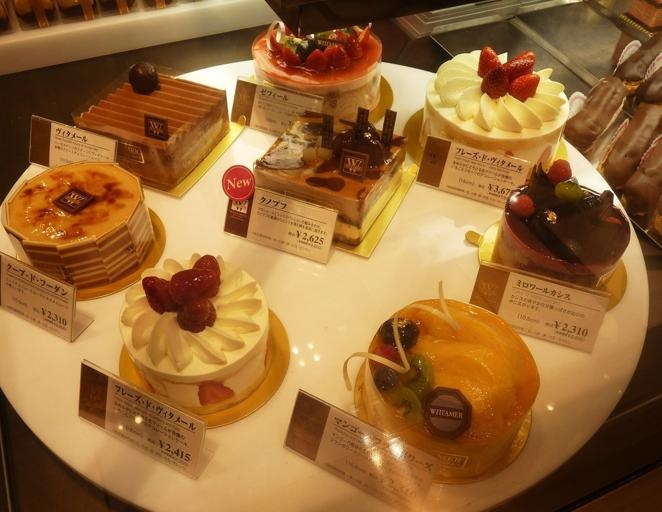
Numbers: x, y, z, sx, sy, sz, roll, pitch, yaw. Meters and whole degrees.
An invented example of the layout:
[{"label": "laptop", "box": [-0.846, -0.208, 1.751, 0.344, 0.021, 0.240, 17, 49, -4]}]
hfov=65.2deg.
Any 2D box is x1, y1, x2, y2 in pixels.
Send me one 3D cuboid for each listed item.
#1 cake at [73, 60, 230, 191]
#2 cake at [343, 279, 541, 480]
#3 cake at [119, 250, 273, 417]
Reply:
[{"label": "cake", "box": [-0.984, -0.773, 3.020, 0.734, 0.382, 0.776, 21, 47, 18]}, {"label": "cake", "box": [0.414, 0.640, 2.283, 0.788, 0.275, 0.715, 32, 59, 23]}, {"label": "cake", "box": [-0.535, 0.322, 2.346, 0.591, 0.491, 0.663, 22, 49, 13]}]
